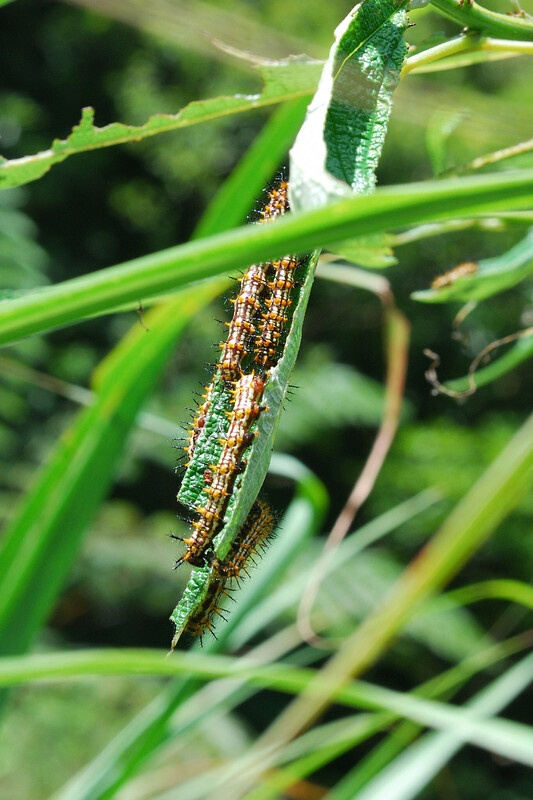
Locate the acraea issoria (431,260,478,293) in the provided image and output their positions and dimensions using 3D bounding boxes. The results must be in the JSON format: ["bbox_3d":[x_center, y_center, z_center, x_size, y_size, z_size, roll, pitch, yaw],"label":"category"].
[{"bbox_3d":[0.267,-0.179,1.189,0.026,0.024,0.088,-1,-4,-31],"label":"acraea issoria"}]
